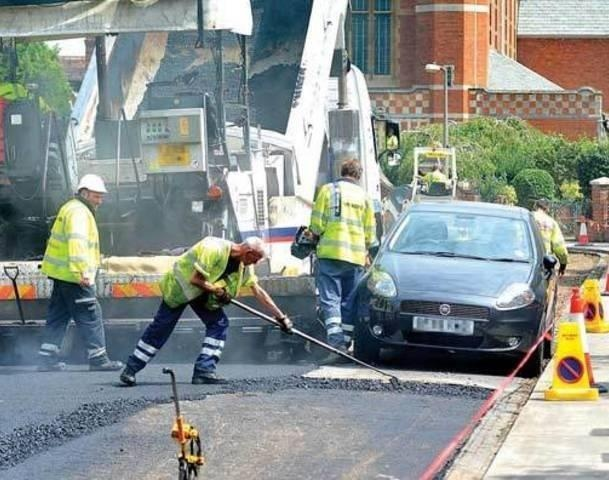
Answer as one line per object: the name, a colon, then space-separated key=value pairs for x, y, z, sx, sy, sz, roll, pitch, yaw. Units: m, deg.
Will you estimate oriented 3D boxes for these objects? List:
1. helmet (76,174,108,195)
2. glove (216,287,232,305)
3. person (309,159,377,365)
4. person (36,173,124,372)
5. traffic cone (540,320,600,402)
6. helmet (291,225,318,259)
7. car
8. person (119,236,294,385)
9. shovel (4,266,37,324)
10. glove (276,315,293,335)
helmet: x=-2.160 y=-0.543 z=11.416 sx=0.263 sy=0.143 sz=0.206 roll=0 pitch=-1 yaw=6
glove: x=-0.725 y=0.526 z=10.190 sx=0.106 sy=0.152 sz=0.057 roll=14 pitch=41 yaw=25
person: x=0.361 y=0.156 z=11.732 sx=0.665 sy=1.880 sz=0.676 roll=0 pitch=1 yaw=15
person: x=-2.251 y=0.367 z=11.424 sx=0.765 sy=1.983 sz=0.631 roll=4 pitch=2 yaw=33
traffic cone: x=2.403 y=1.100 z=10.325 sx=0.474 sy=0.684 sz=0.315 roll=0 pitch=5 yaw=8
helmet: x=-0.027 y=0.069 z=11.946 sx=0.241 sy=0.339 sz=0.151 roll=11 pitch=22 yaw=-5
car: x=1.569 y=0.380 z=11.827 sx=1.770 sy=1.726 sz=3.012 roll=3 pitch=1 yaw=11
person: x=-1.024 y=0.665 z=10.306 sx=1.267 sy=1.358 sz=0.556 roll=-2 pitch=5 yaw=-8
shovel: x=-2.962 y=0.568 z=11.799 sx=0.293 sy=0.549 sz=0.289 roll=-2 pitch=8 yaw=-18
glove: x=-0.201 y=0.782 z=10.467 sx=0.135 sy=0.178 sz=0.195 roll=-1 pitch=5 yaw=-3
